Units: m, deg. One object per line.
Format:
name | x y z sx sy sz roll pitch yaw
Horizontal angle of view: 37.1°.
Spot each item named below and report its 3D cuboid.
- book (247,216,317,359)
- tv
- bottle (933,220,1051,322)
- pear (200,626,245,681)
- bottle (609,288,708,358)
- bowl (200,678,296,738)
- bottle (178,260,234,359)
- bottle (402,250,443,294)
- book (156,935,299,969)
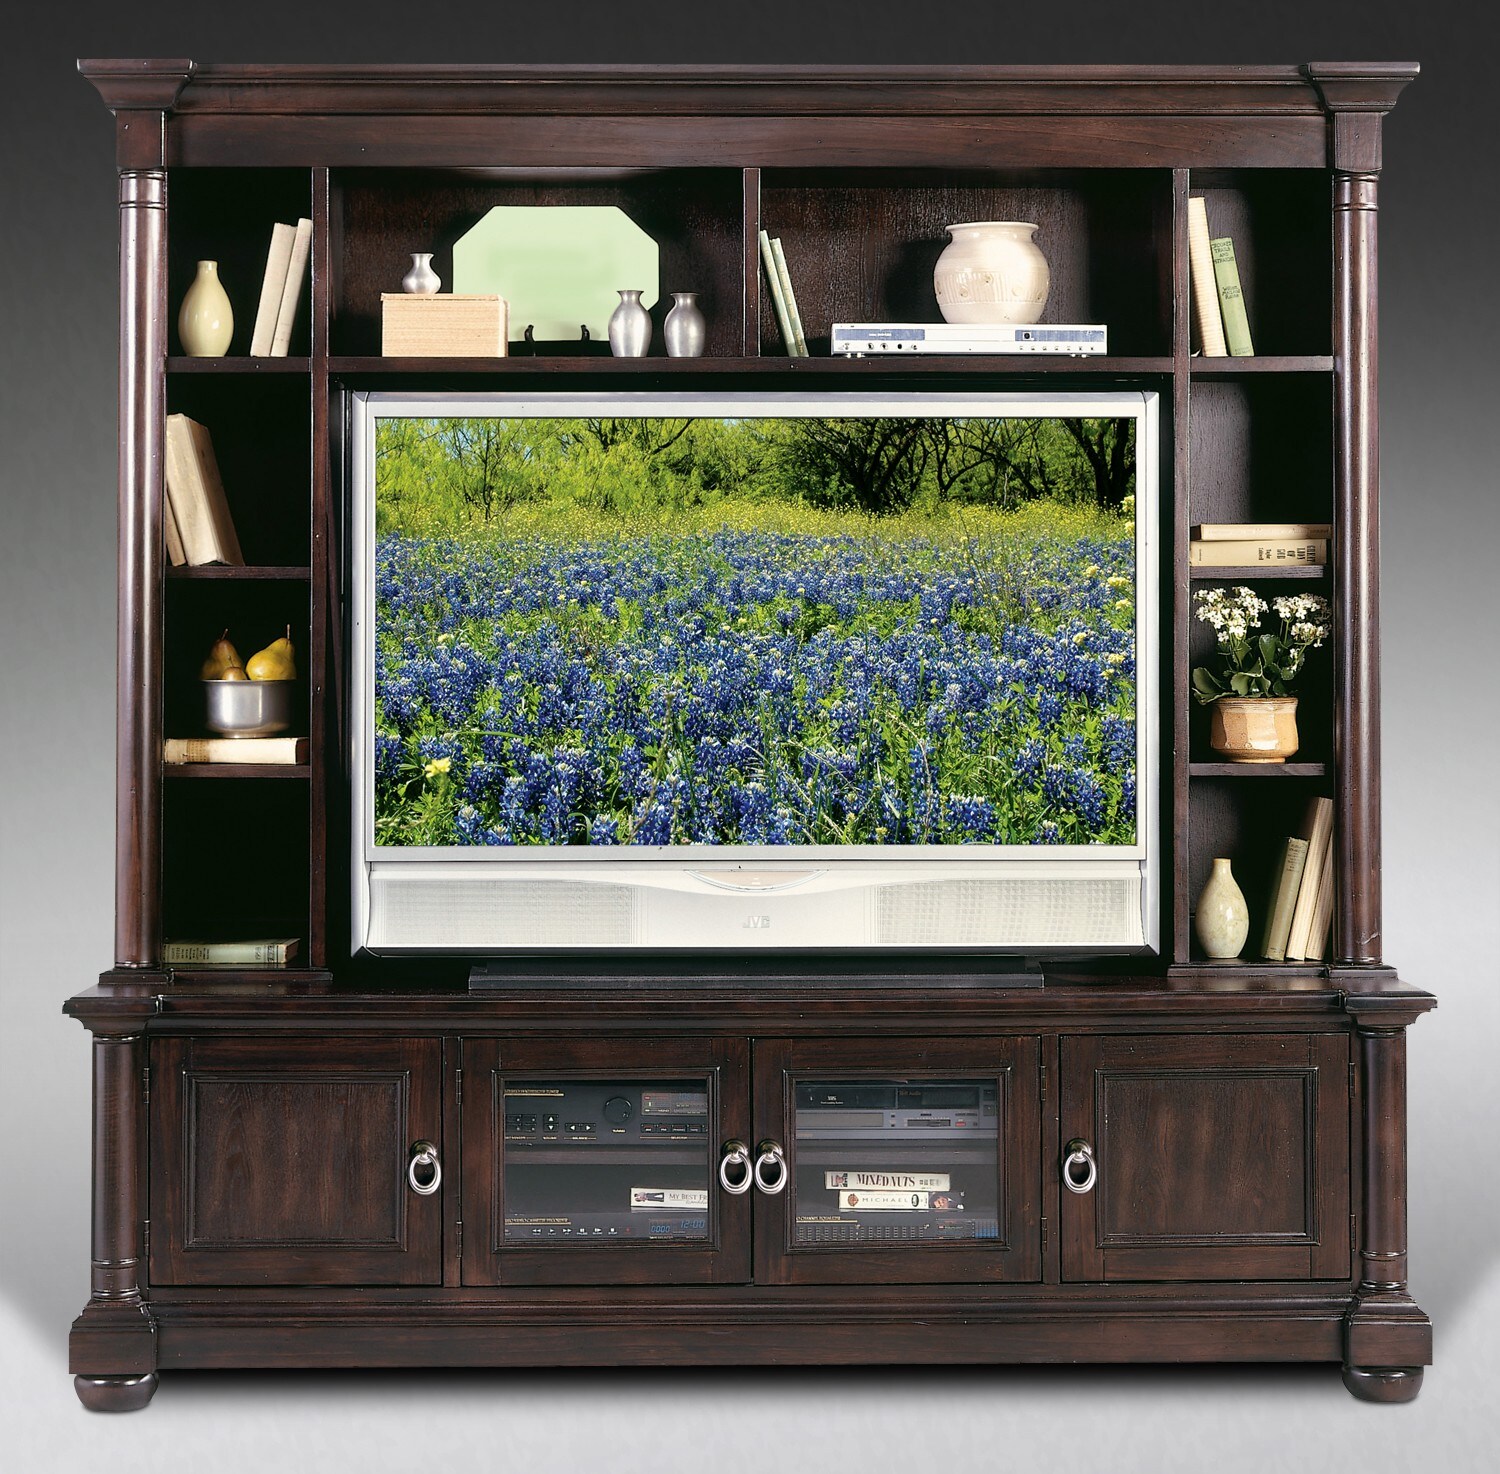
book | -0.888 -0.833 4.249 0.124 0.264 0.296 -3 1 -11
tv | -0.001 -0.088 4.216 1.182 0.803 0.043 0 -4 -2
bottle | 0.460 -0.876 4.266 0.200 0.225 0.201 -1 -9 7
pear | -0.989 -0.152 4.284 0.089 0.122 0.087 0 -1 10
bottle | -0.180 -0.794 4.294 0.187 0.128 0.073 -3 1 -36
bowl | -0.957 -0.055 4.234 0.120 0.074 0.118 0 1 0
bottle | -1.034 -0.814 4.267 0.112 0.172 0.113 2 5 0
bottle | -0.624 -0.893 4.321 0.103 0.097 0.107 -2 12 -6
book | -0.974 0.411 4.182 0.235 0.054 0.104 -3 1 -12
